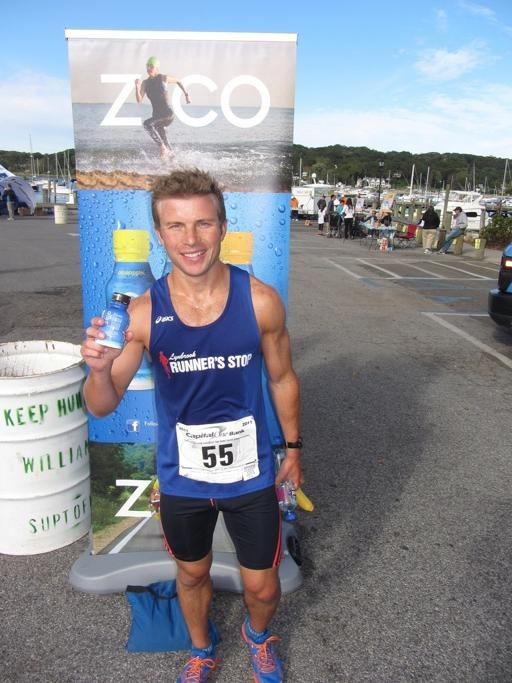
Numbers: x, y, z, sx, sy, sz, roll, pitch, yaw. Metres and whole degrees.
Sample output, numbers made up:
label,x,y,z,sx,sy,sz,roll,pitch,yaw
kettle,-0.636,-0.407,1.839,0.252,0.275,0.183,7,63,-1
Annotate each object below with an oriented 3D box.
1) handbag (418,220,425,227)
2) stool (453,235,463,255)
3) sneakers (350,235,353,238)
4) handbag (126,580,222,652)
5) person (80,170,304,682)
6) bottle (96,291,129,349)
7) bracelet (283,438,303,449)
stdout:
label,x,y,z,sx,sy,sz,roll,pitch,yaw
handbag,7.454,-5.313,23.225,0.215,0.267,0.686,1,6,18
stool,8.637,-4.079,21.867,0.323,0.817,1.079,9,14,21
sneakers,5.042,-5.508,27.238,0.069,0.176,0.457,8,14,18
handbag,-0.353,1.163,2.157,0.344,0.118,0.364,0,37,-15
person,-0.114,0.365,1.804,0.562,1.836,0.353,3,13,0
bottle,-0.405,-0.063,1.514,0.065,0.159,0.166,5,13,9
bracelet,0.153,0.398,1.988,0.045,0.043,0.047,-5,-14,-5
